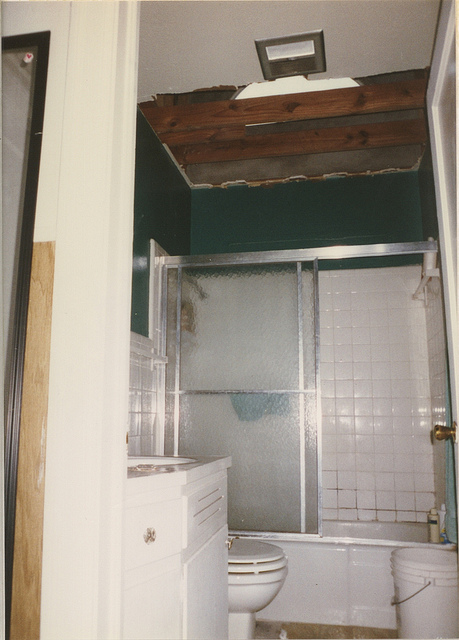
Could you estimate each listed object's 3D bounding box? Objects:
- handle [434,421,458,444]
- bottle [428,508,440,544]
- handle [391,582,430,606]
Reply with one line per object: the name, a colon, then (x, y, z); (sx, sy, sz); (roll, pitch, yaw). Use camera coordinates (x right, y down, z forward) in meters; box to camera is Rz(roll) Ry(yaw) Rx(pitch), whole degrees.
handle: (0.472, 0.244, 1.252); (0.051, 0.047, 0.068); (-3, -4, 15)
bottle: (1.060, 1.072, 2.949); (0.059, 0.151, 0.106); (-5, -10, 18)
handle: (0.798, 1.198, 2.484); (0.053, 0.033, 0.207); (31, -61, -19)
